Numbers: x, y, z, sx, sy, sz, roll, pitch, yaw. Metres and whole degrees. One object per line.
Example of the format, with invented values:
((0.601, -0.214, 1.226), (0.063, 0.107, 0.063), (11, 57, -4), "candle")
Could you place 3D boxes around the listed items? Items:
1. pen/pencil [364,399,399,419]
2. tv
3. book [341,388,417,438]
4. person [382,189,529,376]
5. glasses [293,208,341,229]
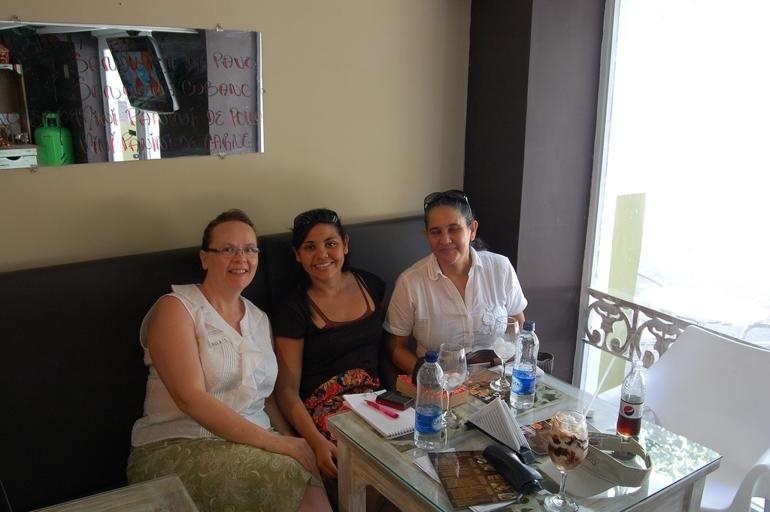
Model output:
((-0.011, 0.644, 2.216), (0.022, 0.024, 0.158), (-21, 27, -38), "pen/pencil")
((-1.229, -0.922, 2.639), (0.289, 0.414, 0.103), (-18, 30, -2), "tv")
((-0.022, 0.660, 2.199), (0.153, 0.037, 0.198), (-10, 22, -31), "book")
((0.374, 0.165, 2.859), (0.786, 0.801, 0.442), (-15, 24, -5), "person")
((-0.353, -0.203, 2.798), (0.125, 0.067, 0.172), (-3, 1, 34), "glasses")
